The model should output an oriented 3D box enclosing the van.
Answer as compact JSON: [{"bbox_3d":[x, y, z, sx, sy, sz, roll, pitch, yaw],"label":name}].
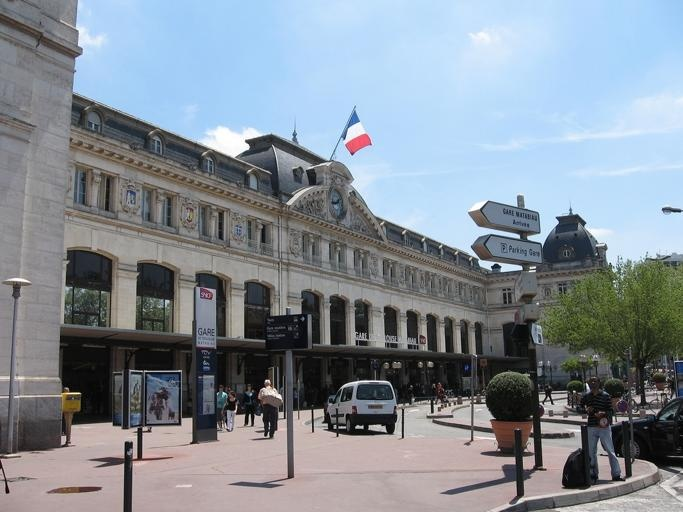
[{"bbox_3d":[0.740,6.279,27.709,1.663,2.136,2.920,13,-20,-43],"label":"van"}]

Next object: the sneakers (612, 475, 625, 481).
[{"bbox_3d":[6.179,4.936,14.933,0.264,0.118,0.112,3,-4,-35],"label":"sneakers"}]

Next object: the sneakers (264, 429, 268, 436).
[{"bbox_3d":[-2.834,6.645,25.190,0.172,0.269,0.381,1,-15,-7],"label":"sneakers"}]

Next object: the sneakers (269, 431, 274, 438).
[{"bbox_3d":[-2.602,6.650,24.825,0.170,0.255,0.146,12,-41,-25],"label":"sneakers"}]

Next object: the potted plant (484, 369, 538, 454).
[{"bbox_3d":[4.723,4.296,18.604,1.231,2.180,1.127,-8,-15,25],"label":"potted plant"}]

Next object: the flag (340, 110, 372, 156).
[{"bbox_3d":[0.946,-9.267,48.618,2.305,4.357,0.286,-10,-31,4],"label":"flag"}]
